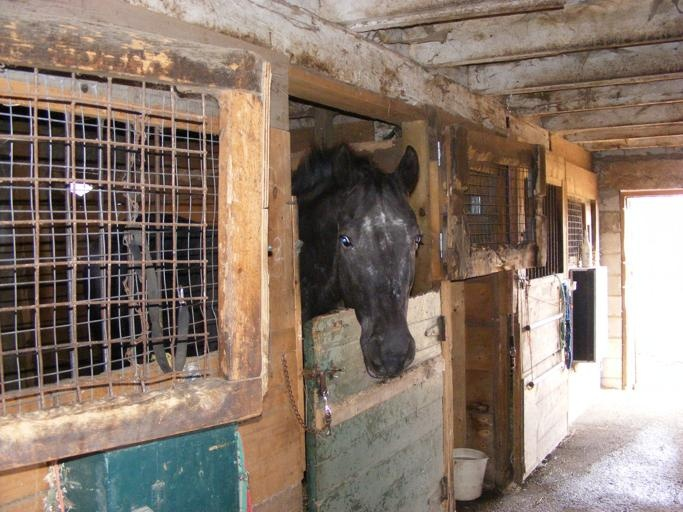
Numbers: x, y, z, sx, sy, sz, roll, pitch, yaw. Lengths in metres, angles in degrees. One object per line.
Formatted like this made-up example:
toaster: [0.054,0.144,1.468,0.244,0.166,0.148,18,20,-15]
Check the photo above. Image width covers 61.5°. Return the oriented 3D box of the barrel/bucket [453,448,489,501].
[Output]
barrel/bucket: [0.931,1.627,4.310,0.342,0.316,0.335,-1,0,0]
